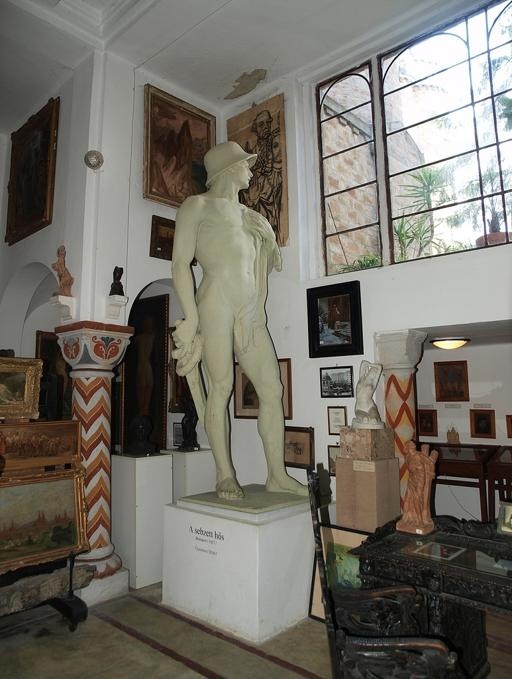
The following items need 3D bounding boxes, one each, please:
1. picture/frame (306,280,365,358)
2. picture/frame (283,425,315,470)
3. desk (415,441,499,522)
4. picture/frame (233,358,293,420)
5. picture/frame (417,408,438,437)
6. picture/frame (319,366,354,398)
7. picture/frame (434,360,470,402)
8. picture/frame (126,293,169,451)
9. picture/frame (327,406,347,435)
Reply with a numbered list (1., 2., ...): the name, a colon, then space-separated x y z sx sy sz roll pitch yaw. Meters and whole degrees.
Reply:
1. picture/frame: 0.708 -0.171 4.417 0.053 0.806 0.635 4 -6 -41
2. picture/frame: 0.378 0.989 4.621 0.084 0.388 0.367 8 -14 -41
3. desk: 2.015 1.367 4.871 0.648 0.728 0.876 -2 -22 16
4. picture/frame: 0.082 0.441 4.455 0.028 0.572 0.647 0 -4 -33
5. picture/frame: 1.841 0.892 5.434 0.289 0.398 0.028 -3 -8 45
6. picture/frame: 0.708 0.372 4.409 0.271 0.242 0.021 -4 -8 41
7. picture/frame: 2.059 0.444 5.314 0.040 0.528 0.399 9 -11 -42
8. picture/frame: -1.273 0.363 5.851 0.619 1.750 0.402 -3 -10 9
9. picture/frame: 0.690 0.688 4.297 0.034 0.327 0.226 12 -13 -41
